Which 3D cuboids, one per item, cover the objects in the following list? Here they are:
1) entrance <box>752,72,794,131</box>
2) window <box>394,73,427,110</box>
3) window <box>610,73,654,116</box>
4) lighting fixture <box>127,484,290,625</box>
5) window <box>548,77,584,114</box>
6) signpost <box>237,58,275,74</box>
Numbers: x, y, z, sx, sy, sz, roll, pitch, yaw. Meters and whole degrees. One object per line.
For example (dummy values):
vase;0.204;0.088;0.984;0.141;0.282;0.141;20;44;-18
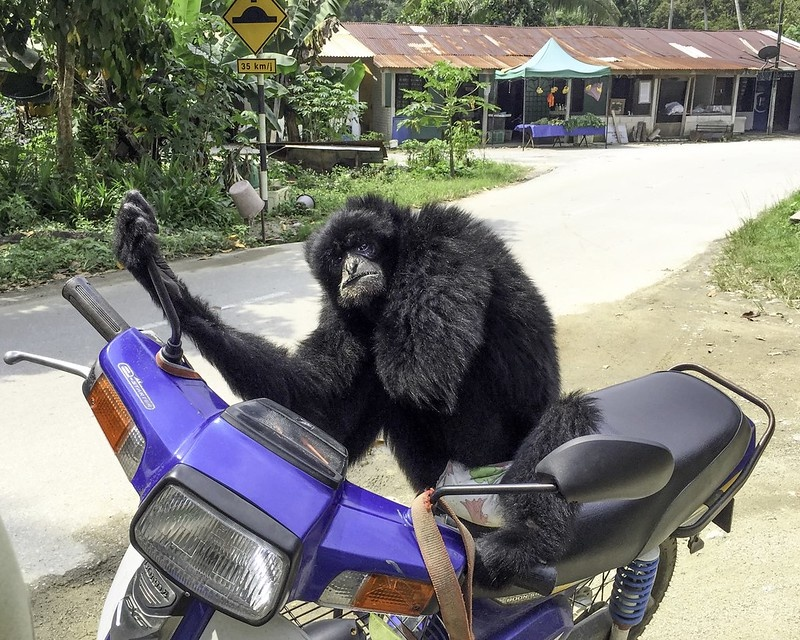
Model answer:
entrance;16.597;-9.841;33.671;2.814;3.115;0.276;-4;8;-6
window;0.346;-8.377;27.657;0.377;1.223;1.910;6;18;23
window;9.307;-9.057;30.553;1.643;1.709;1.757;3;26;9
lighting fixture;-0.410;0.531;1.757;0.379;0.233;0.093;30;-3;14
window;6.476;-8.953;29.219;1.807;1.789;0.418;0;4;-39
signpost;-1.930;-3.467;10.286;0.493;0.200;0.254;-2;16;-4
